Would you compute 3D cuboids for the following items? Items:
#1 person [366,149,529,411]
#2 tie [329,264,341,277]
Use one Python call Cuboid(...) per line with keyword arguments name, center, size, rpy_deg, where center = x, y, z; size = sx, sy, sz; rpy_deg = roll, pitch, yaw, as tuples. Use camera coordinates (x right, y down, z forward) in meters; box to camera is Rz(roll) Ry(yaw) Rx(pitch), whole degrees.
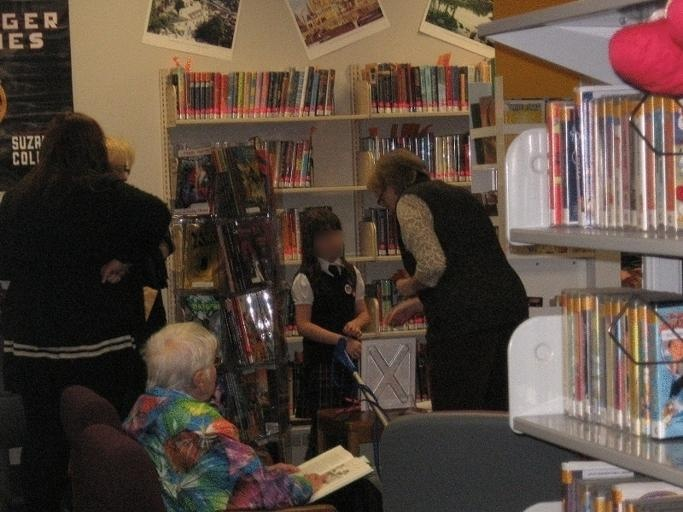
Cuboid(name="person", center=(0.469, 0.240, 3.537), size=(0.532, 1.418, 0.635), rpy_deg=(-19, 17, -42))
Cuboid(name="tie", center=(-0.038, 0.084, 4.479), size=(0.050, 0.072, 0.017), rpy_deg=(-33, 4, -35))
